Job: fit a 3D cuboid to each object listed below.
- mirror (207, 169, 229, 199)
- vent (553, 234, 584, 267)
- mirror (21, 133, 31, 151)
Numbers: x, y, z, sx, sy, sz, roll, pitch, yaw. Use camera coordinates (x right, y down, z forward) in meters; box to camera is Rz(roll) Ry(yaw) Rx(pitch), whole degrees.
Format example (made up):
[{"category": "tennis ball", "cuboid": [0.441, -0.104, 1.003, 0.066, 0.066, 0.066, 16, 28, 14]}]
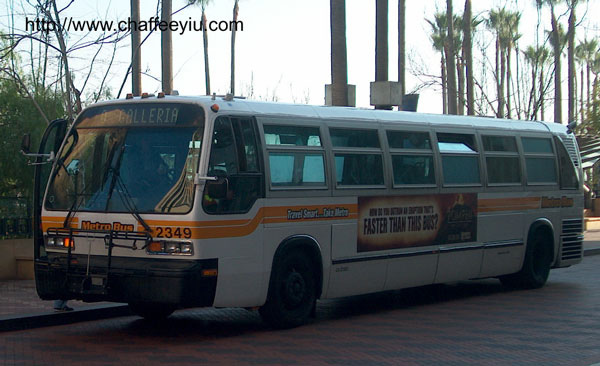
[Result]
[{"category": "mirror", "cuboid": [-1.326, 0.018, 9.613, 0.332, 0.477, 0.374, 0, 1, -6]}, {"category": "vent", "cuboid": [6.843, 1.746, 15.620, 1.338, 0.893, 0.740, 1, -3, -43]}, {"category": "mirror", "cuboid": [-4.740, -0.701, 10.311, 0.109, 0.295, 0.440, 0, 1, -21]}]
